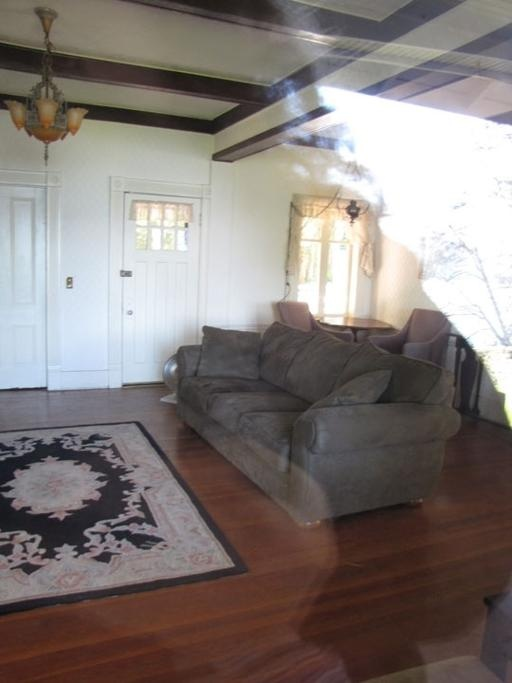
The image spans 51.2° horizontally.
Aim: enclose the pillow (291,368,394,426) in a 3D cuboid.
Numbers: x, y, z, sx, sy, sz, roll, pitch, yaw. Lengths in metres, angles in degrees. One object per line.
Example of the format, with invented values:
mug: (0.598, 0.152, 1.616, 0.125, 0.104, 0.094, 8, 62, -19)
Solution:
pillow: (0.405, 0.213, 2.291, 0.516, 0.163, 0.160, -5, 11, -45)
